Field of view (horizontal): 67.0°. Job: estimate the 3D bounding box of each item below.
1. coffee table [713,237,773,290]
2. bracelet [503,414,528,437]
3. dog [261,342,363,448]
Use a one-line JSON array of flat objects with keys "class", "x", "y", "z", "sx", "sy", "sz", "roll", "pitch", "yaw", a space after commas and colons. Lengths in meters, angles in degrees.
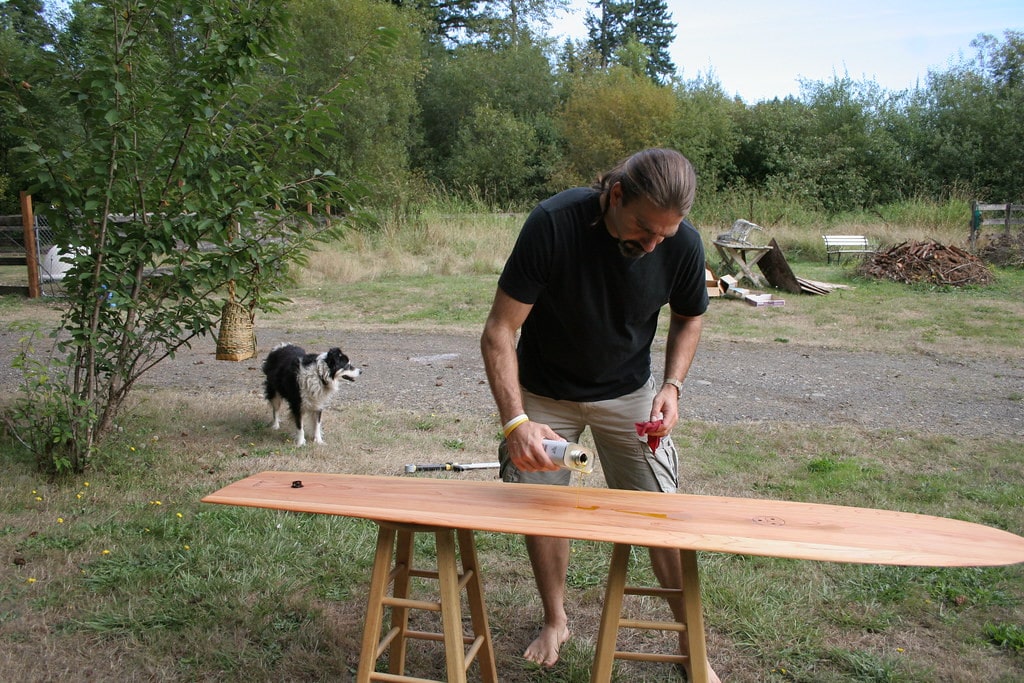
[{"class": "coffee table", "x": 5.379, "y": -1.544, "z": 17.572, "sx": 0.913, "sy": 0.858, "sz": 1.744, "roll": 3, "pitch": -5, "yaw": 19}, {"class": "bracelet", "x": 0.017, "y": 0.536, "z": 4.974, "sx": 0.130, "sy": 0.049, "sz": 0.123, "roll": -28, "pitch": -5, "yaw": 29}, {"class": "dog", "x": -2.394, "y": 0.518, "z": 8.608, "sx": 1.483, "sy": 1.120, "sz": 0.488, "roll": 14, "pitch": 14, "yaw": 38}]
